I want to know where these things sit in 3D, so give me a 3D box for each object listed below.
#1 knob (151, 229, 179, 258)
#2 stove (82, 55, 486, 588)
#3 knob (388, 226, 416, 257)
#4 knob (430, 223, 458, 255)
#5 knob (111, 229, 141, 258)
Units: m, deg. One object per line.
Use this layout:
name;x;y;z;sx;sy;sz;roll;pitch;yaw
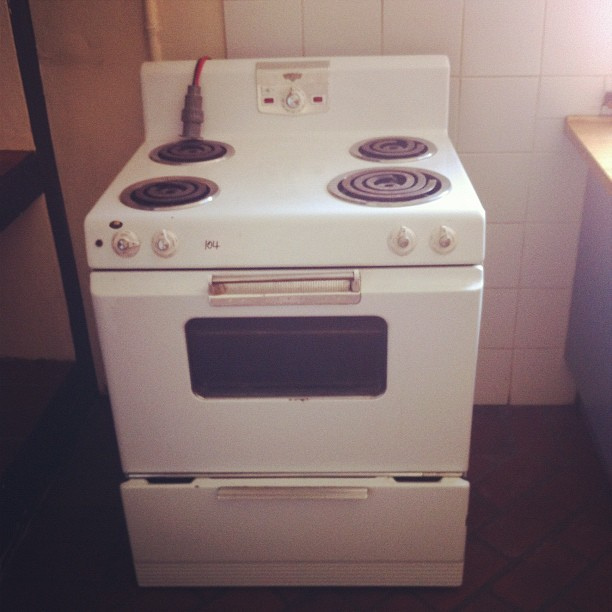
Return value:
knob;-0.252;-0.113;1.170;0.049;0.045;0.012;-2;18;3
stove;-0.028;0.022;1.540;0.754;1.071;0.752;0;30;2
knob;0.171;-0.113;1.158;0.048;0.054;0.021;3;31;6
knob;0.244;-0.121;1.151;0.047;0.047;0.016;-5;10;0
knob;-0.324;-0.115;1.176;0.051;0.045;0.013;5;9;-1
